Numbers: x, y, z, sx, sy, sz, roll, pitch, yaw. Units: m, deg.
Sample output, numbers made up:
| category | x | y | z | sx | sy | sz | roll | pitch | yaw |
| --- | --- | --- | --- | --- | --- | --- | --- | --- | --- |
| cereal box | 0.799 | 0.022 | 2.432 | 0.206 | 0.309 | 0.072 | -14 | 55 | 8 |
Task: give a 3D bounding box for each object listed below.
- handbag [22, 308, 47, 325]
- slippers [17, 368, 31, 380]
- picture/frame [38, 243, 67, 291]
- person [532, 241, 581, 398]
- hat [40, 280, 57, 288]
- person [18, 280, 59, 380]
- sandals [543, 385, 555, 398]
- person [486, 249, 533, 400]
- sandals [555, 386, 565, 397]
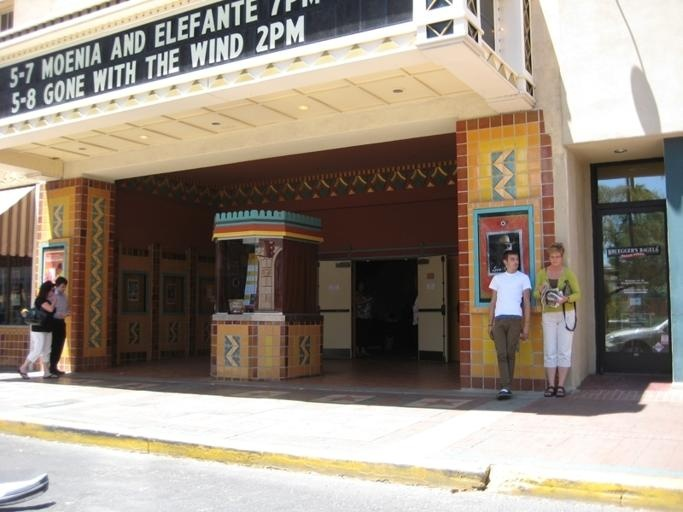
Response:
| category | x | y | z | sx | sy | sz | roll | pitch | yaw |
| --- | --- | --- | --- | --- | --- | --- | --- | --- | --- |
| handbag | -6.386 | 1.268 | 12.290 | 0.363 | 0.364 | 0.243 | 1 | -6 | -23 |
| slippers | -6.713 | 2.492 | 12.412 | 0.094 | 0.322 | 0.118 | -31 | 18 | -15 |
| picture/frame | -6.773 | 0.264 | 13.935 | 1.236 | 1.252 | 0.121 | -4 | -4 | 36 |
| person | 3.276 | 0.961 | 8.923 | 0.632 | 2.279 | 0.619 | 0 | -6 | -15 |
| hat | -6.279 | 0.622 | 12.554 | 0.195 | 0.243 | 0.245 | 8 | -6 | -23 |
| person | -6.417 | 1.543 | 12.433 | 0.617 | 2.041 | 0.590 | 2 | -7 | -28 |
| sandals | 3.136 | 2.045 | 8.897 | 0.108 | 0.135 | 0.334 | -3 | -8 | 19 |
| person | 2.562 | 1.037 | 8.942 | 0.634 | 2.210 | 0.347 | -3 | -6 | 15 |
| sandals | 3.304 | 2.034 | 8.907 | 0.145 | 0.140 | 0.222 | -3 | -6 | 20 |
